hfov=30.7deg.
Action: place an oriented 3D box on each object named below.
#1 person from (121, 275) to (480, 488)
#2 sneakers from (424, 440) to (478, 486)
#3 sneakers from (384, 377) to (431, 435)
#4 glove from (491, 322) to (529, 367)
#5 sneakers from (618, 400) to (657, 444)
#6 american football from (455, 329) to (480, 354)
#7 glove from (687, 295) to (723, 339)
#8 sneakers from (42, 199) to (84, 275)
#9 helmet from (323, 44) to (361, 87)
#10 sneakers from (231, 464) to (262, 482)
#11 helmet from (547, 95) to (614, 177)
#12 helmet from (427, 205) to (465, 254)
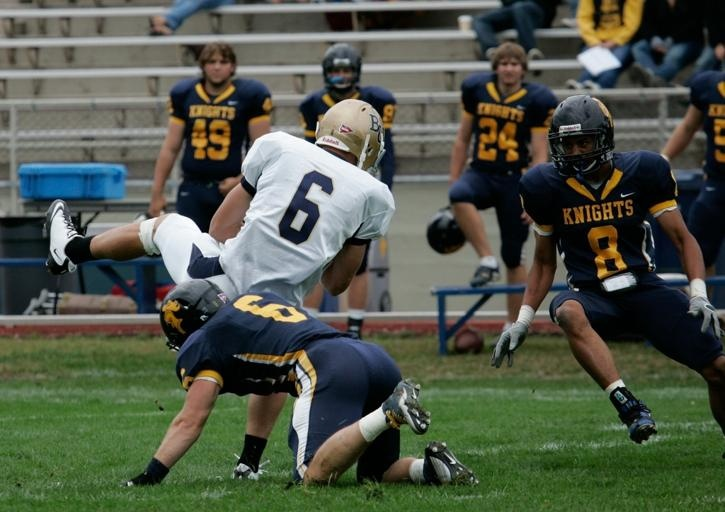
[{"bbox_3d":[-0.379,0.757,8.037,1.770,1.034,1.130,4,-2,23],"label":"person"},{"bbox_3d":[0.470,1.209,7.865,0.416,0.192,0.146,17,23,15],"label":"sneakers"},{"bbox_3d":[0.244,0.869,7.649,0.269,0.310,0.210,2,8,9],"label":"sneakers"},{"bbox_3d":[0.961,0.598,8.672,0.117,0.317,0.235,14,10,-35],"label":"glove"},{"bbox_3d":[1.681,1.026,8.162,0.194,0.260,0.203,1,8,1],"label":"sneakers"},{"bbox_3d":[0.909,0.738,11.490,0.204,0.152,0.180,1,-5,-8],"label":"american football"},{"bbox_3d":[2.162,0.369,8.366,0.200,0.261,0.097,-7,-20,-3],"label":"glove"},{"bbox_3d":[-1.953,-0.131,8.790,0.272,0.565,0.185,-13,-28,25],"label":"sneakers"},{"bbox_3d":[-0.184,-1.681,11.528,0.302,0.349,0.390,-1,10,0],"label":"helmet"},{"bbox_3d":[-0.711,1.318,8.041,0.168,0.076,0.078,1,10,-20],"label":"sneakers"},{"bbox_3d":[1.407,-0.789,8.567,0.385,0.449,0.528,-8,19,36],"label":"helmet"},{"bbox_3d":[0.691,-0.230,11.424,0.290,0.367,0.303,0,19,23],"label":"helmet"}]
